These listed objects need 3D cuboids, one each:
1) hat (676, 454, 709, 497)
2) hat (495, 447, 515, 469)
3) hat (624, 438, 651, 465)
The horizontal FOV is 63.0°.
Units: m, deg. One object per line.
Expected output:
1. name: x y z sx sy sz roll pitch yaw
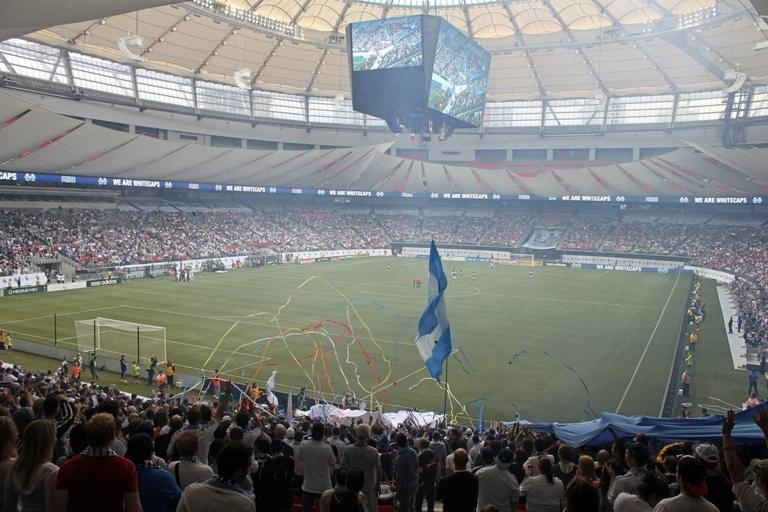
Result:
1. hat: 8.415 6.098 17.402 0.831 0.900 1.103 3 -47 18
2. hat: 3.703 6.069 19.155 0.464 0.329 0.663 3 23 14
3. hat: 7.814 6.065 19.511 0.598 0.647 0.722 3 3 4
